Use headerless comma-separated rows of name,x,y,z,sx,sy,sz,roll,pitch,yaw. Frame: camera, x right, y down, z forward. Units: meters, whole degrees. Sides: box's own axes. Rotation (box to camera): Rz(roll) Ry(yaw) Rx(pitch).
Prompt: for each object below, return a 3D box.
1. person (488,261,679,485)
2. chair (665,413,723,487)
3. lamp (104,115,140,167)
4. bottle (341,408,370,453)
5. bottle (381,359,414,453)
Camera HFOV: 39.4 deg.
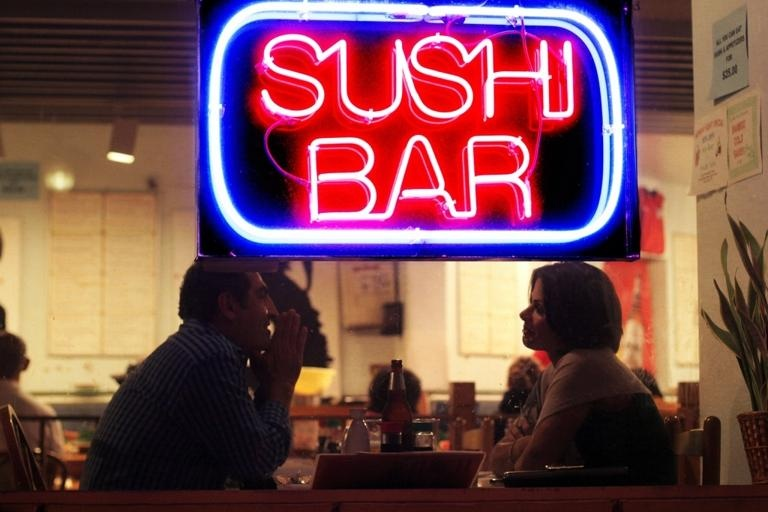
person,0.977,0.636,5.287,0.864,1.137,0.723,0,-6,14
chair,1.460,0.942,5.089,0.253,0.321,0.216,-1,-5,17
lamp,-1.290,-0.556,5.278,0.147,0.278,0.153,8,-32,2
bottle,-0.123,0.782,4.776,0.130,0.202,0.368,2,-10,-2
bottle,0.061,0.682,4.908,0.145,0.428,0.302,1,-10,2
